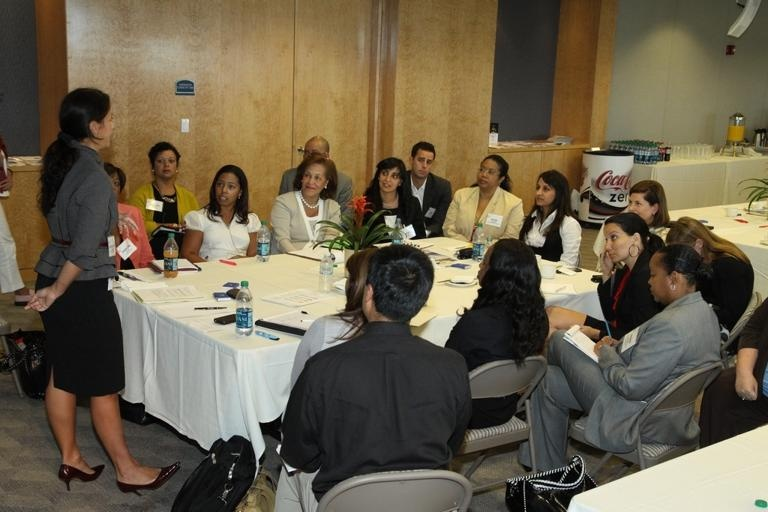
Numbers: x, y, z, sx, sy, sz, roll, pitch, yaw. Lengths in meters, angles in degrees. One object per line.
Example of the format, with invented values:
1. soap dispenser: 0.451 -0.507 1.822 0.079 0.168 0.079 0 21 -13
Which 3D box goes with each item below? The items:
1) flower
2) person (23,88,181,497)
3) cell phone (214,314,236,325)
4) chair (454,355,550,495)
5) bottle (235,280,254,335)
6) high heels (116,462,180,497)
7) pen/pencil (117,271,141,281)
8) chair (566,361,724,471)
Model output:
1. flower: -0.203 -0.222 4.322 0.713 0.517 0.755 1 12 -12
2. person: -1.651 0.241 2.883 0.495 2.216 0.310 -5 14 -22
3. cell phone: -0.941 0.368 3.130 0.119 0.031 0.122 -5 14 -23
4. chair: 0.601 0.952 3.088 0.542 0.756 0.603 -6 -1 11
5. bottle: -0.807 0.287 3.040 0.102 0.263 0.298 -4 13 -16
6. high heels: -1.386 1.314 3.126 0.319 0.099 0.107 -10 19 -21
7. pen/pencil: -1.817 0.143 3.777 0.159 0.023 0.021 17 -8 27
8. chair: 1.408 0.841 2.866 0.411 0.733 0.542 -17 31 -33
